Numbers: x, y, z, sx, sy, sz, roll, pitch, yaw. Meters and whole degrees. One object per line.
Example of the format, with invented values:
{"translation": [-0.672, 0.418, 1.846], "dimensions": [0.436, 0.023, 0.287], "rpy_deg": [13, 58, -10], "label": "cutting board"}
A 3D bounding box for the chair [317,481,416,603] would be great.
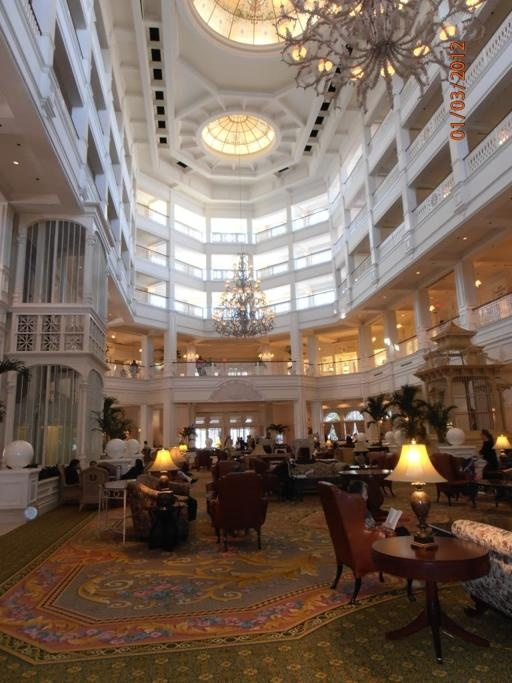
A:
{"translation": [0.880, 1.595, 3.698], "dimensions": [0.752, 0.788, 0.686], "rpy_deg": [9, -17, -20], "label": "chair"}

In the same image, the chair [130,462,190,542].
{"translation": [-1.233, 2.108, 5.998], "dimensions": [0.899, 1.111, 0.862], "rpy_deg": [-1, -4, -8], "label": "chair"}

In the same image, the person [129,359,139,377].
{"translation": [-6.397, 1.424, 23.961], "dimensions": [0.312, 0.966, 0.739], "rpy_deg": [-3, -14, 5], "label": "person"}

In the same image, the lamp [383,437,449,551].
{"translation": [1.156, 1.080, 3.213], "dimensions": [0.448, 0.651, 0.415], "rpy_deg": [-3, -18, -1], "label": "lamp"}

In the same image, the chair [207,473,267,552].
{"translation": [-0.206, 2.013, 5.480], "dimensions": [0.651, 0.874, 0.426], "rpy_deg": [-2, -14, 0], "label": "chair"}

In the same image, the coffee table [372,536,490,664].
{"translation": [1.021, 1.473, 2.681], "dimensions": [0.626, 0.510, 0.575], "rpy_deg": [-7, -12, 24], "label": "coffee table"}
